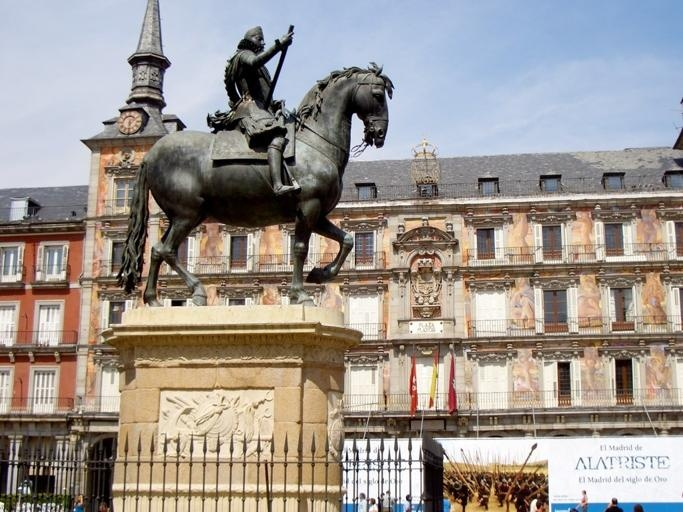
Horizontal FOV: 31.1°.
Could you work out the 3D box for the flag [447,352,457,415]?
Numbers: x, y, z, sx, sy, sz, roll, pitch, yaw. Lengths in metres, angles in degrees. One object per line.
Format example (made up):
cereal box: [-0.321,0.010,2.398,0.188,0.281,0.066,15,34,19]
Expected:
flag: [5.974,6.842,66.394,0.480,2.999,1.464,-2,5,6]
